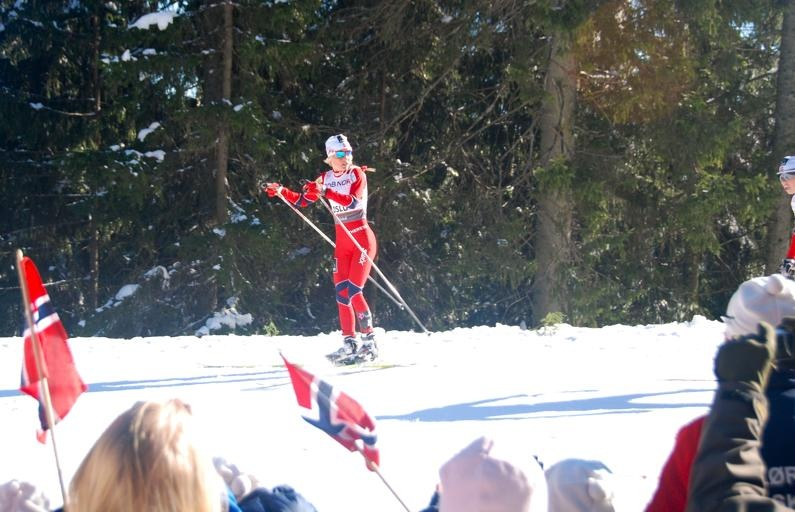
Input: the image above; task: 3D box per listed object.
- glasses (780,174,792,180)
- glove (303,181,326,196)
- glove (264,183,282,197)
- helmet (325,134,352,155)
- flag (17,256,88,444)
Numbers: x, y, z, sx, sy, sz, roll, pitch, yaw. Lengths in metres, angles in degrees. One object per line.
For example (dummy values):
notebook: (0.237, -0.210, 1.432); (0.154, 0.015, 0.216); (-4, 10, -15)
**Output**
glasses: (7.874, -1.617, 24.836); (0.213, 0.118, 0.055); (-7, -6, 38)
glove: (-1.852, -1.478, 26.699); (0.298, 0.181, 0.393); (0, 7, -23)
glove: (-2.689, -1.446, 26.572); (0.348, 0.300, 0.638); (19, 6, -3)
helmet: (-1.291, -2.480, 26.691); (0.393, 0.438, 0.505); (-7, -8, -45)
flag: (-6.276, 1.682, 21.652); (1.301, 3.403, 0.439); (-26, 34, -35)
